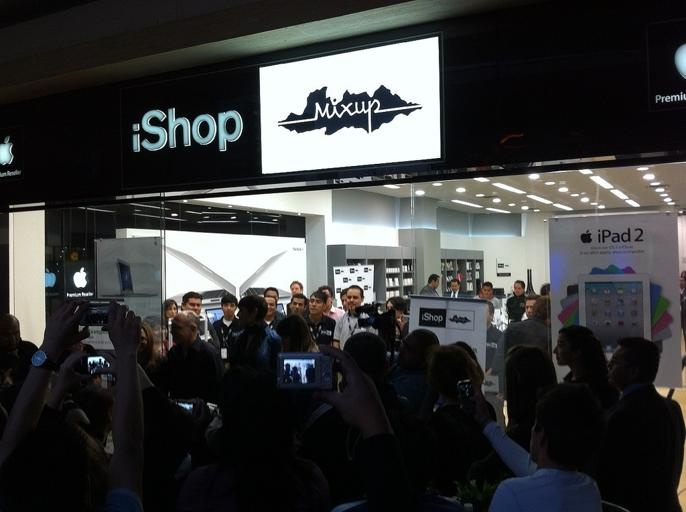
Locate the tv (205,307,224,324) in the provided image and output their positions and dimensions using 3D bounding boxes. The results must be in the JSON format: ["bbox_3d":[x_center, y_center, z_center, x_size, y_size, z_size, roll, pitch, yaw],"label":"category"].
[{"bbox_3d":[-1.657,0.775,7.351,0.174,0.047,0.196,1,11,7],"label":"tv"}]

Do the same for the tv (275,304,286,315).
[{"bbox_3d":[-0.872,0.738,7.925,0.156,0.059,0.235,1,2,-6],"label":"tv"}]

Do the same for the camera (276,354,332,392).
[{"bbox_3d":[-0.164,0.489,2.411,0.294,0.250,0.138,-1,-2,1],"label":"camera"}]
